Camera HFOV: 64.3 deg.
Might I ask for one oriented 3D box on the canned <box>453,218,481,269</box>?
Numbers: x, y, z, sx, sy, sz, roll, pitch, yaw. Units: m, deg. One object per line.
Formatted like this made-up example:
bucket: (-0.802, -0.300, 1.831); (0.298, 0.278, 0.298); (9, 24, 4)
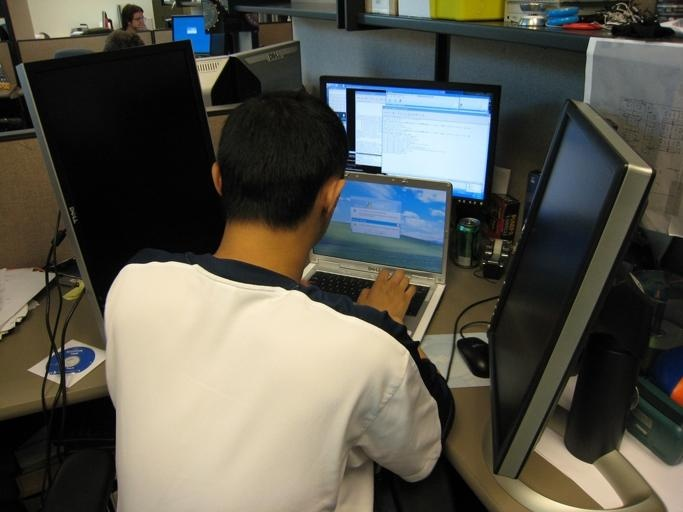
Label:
canned: (0.390, -0.045, 1.678); (0.089, 0.141, 0.096); (17, 33, 34)

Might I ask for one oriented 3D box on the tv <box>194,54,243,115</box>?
tv: (-0.485, -0.706, 2.122); (0.175, 0.224, 0.234); (-14, -2, -11)
